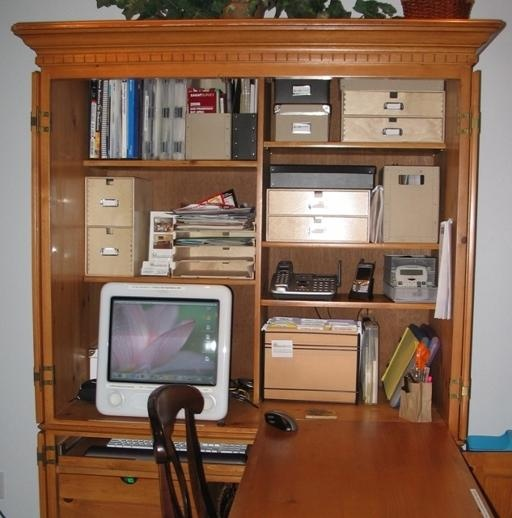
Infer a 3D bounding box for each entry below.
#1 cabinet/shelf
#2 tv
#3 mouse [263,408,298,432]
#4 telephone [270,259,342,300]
[{"bbox_3d":[-0.027,0.055,2.401,1.744,1.953,0.598,0,3,3],"label":"cabinet/shelf"},{"bbox_3d":[-0.393,0.354,2.322,0.571,0.552,0.141,1,2,8],"label":"tv"},{"bbox_3d":[0.088,0.572,1.990,0.097,0.031,0.055,8,6,36],"label":"mouse"},{"bbox_3d":[0.200,0.057,2.434,0.220,0.110,0.167,1,9,5],"label":"telephone"}]
